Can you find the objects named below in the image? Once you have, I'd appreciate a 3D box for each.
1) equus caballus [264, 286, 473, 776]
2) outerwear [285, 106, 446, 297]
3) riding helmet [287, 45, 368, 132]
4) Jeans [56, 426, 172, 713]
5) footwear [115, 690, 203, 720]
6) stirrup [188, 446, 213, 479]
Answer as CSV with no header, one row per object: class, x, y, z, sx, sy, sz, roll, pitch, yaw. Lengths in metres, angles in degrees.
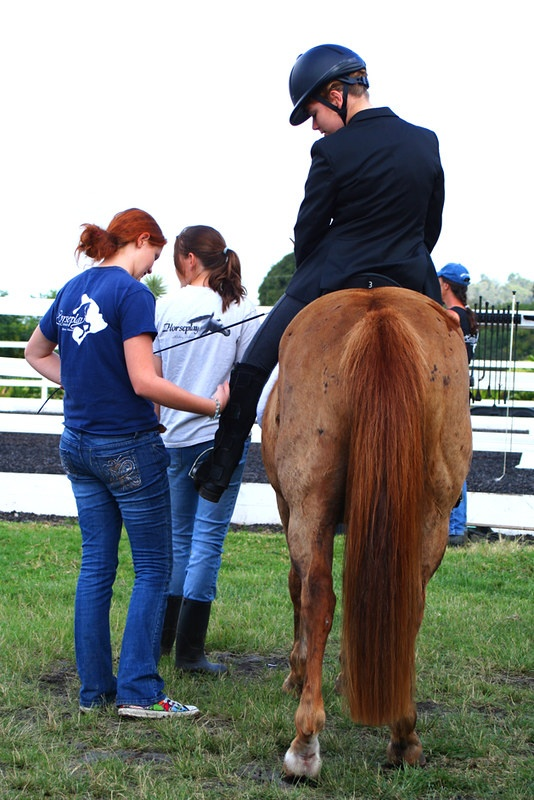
equus caballus,0.308,0.450,3.416,0.780,1.445,0.639,4,-1,10
outerwear,0.449,-0.848,3.929,0.671,0.687,0.408,4,-1,-1
riding helmet,0.287,-1.452,4.079,0.397,0.318,0.297,-13,7,17
Jeans,-0.676,0.704,3.934,0.538,1.102,0.365,4,-1,-4
footwear,-0.455,1.248,3.787,0.361,0.115,0.112,0,-4,-11
stirrup,-0.337,0.311,4.530,0.139,0.171,0.065,9,11,-7
